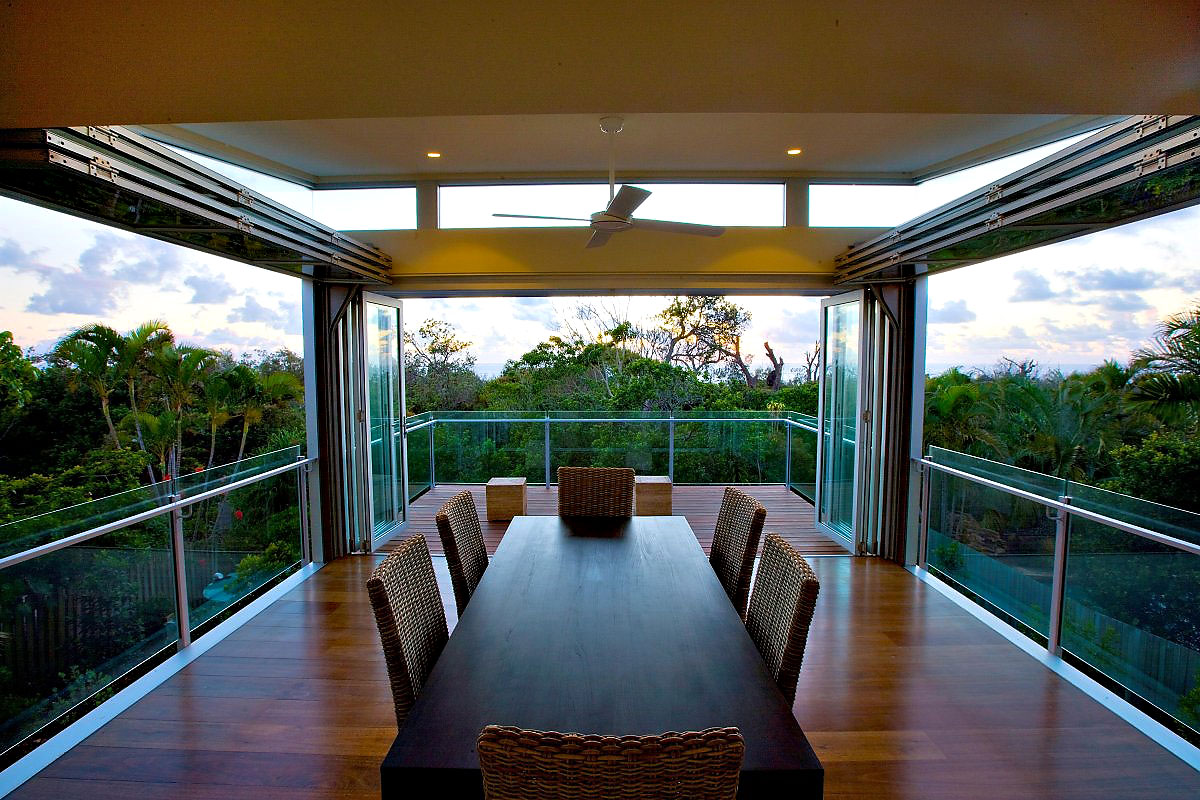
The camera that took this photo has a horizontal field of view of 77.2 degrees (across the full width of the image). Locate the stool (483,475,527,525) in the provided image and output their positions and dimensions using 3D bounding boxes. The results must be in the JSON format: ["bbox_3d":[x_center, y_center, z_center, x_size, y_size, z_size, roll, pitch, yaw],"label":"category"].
[{"bbox_3d":[-1.086,1.121,8.650,0.549,0.533,0.548,0,-3,-8],"label":"stool"}]

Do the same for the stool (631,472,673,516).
[{"bbox_3d":[0.588,1.012,8.270,0.454,0.377,0.450,-1,0,2],"label":"stool"}]
